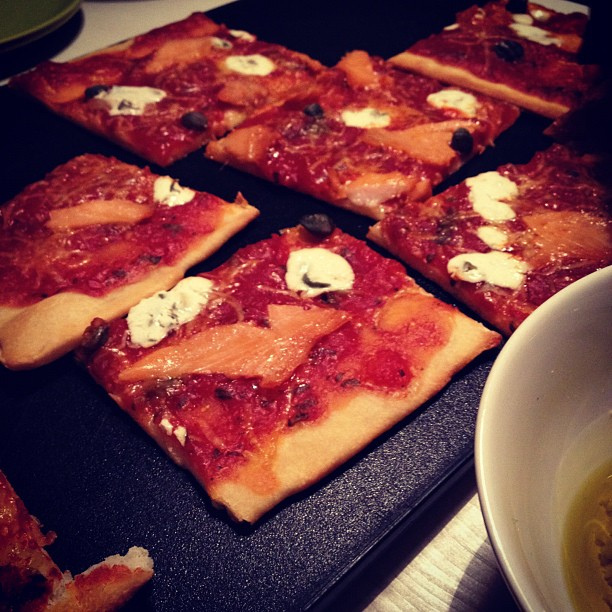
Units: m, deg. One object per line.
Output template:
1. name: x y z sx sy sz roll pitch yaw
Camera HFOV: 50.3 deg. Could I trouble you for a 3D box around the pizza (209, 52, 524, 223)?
1. pizza: 0.196 -0.554 2.041 0.736 0.095 0.736 32 57 29
